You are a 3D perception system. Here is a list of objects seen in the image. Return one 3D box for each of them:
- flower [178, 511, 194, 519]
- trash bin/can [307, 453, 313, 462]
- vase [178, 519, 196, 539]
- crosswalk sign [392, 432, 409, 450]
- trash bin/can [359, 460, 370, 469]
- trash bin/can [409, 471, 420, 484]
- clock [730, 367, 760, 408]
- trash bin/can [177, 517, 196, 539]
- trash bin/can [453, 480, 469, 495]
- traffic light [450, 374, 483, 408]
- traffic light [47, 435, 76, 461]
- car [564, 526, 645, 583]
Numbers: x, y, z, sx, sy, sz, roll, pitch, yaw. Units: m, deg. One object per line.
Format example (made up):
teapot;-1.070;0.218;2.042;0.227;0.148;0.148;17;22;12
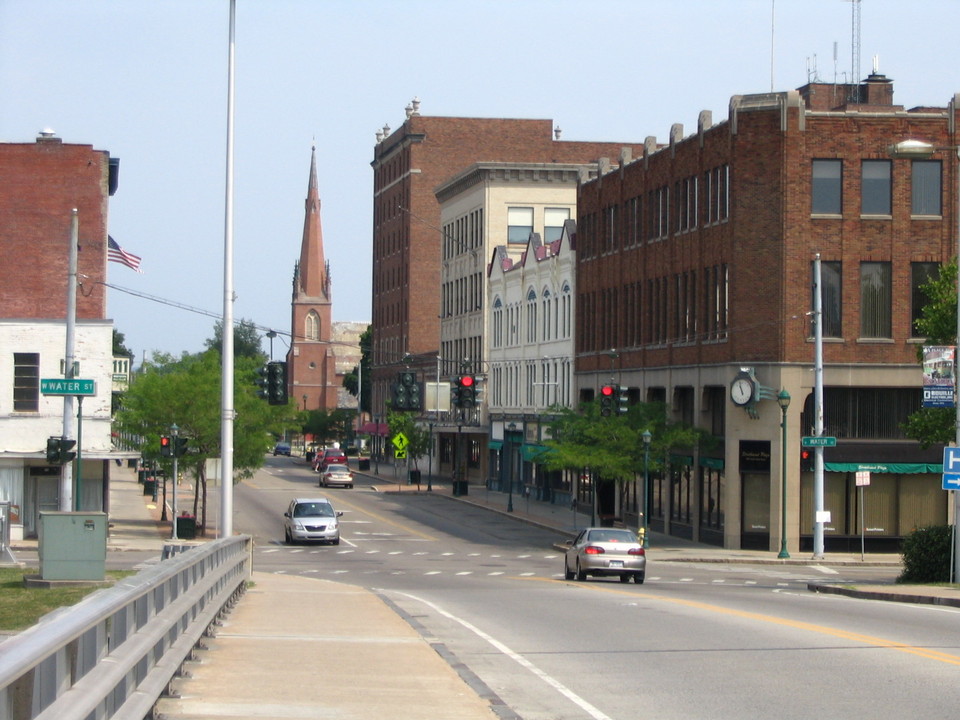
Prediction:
flower;-11.704;6.116;75.098;0.643;0.282;0.554;4;-5;-28
trash bin/can;-14.335;8.050;158.749;0.458;0.944;0.878;1;-6;-18
vase;-10.825;6.149;69.463;0.671;0.821;0.894;1;-9;-4
crosswalk sign;-4.346;4.318;102.954;0.755;0.808;0.108;-27;-9;9
trash bin/can;-8.180;7.286;132.577;0.689;0.771;0.530;-1;3;4
trash bin/can;-3.874;6.884;111.095;0.618;1.019;0.670;2;12;4
clock;9.394;0.950;67.353;0.732;1.533;1.223;4;-5;-35
trash bin/can;-10.779;6.156;69.710;0.801;0.922;0.642;0;2;9
trash bin/can;-1.011;6.642;98.705;0.602;0.927;0.870;0;1;-11
traffic light;-0.498;1.006;62.166;1.021;1.138;1.112;0;-2;5
traffic light;-12.401;2.655;56.404;0.790;1.040;0.837;-3;-4;11
car;3.626;5.656;54.871;2.139;1.611;1.611;-1;-9;8
